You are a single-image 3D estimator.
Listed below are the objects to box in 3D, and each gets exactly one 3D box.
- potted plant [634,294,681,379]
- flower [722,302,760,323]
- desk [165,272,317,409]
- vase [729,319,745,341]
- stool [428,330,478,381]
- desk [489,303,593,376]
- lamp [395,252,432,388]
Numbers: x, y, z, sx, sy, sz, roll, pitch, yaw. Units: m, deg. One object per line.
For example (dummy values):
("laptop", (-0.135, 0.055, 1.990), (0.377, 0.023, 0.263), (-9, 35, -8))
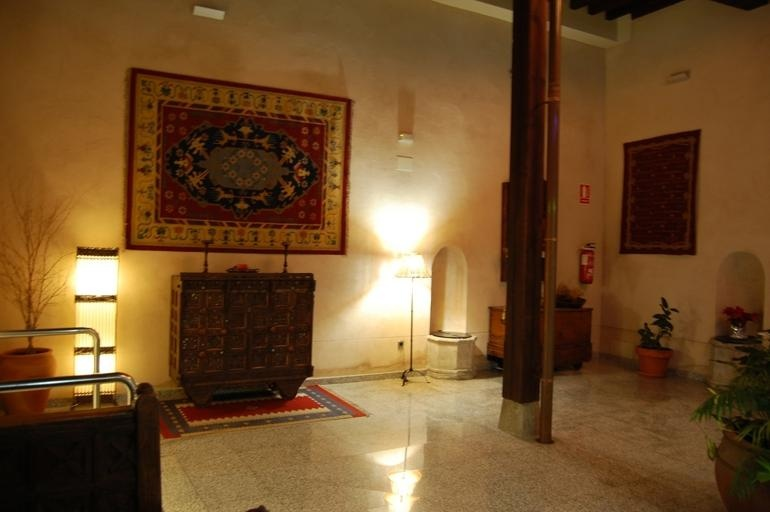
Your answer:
("potted plant", (4.826, 1.426, 9.660), (0.602, 1.366, 0.830), (6, 8, 28))
("flower", (5.803, 0.953, 8.879), (0.391, 0.175, 0.411), (-3, -4, 42))
("desk", (-2.019, 1.132, 7.432), (2.051, 1.736, 0.822), (1, -1, -24))
("vase", (5.725, 1.224, 8.925), (0.305, 0.315, 0.303), (-3, 0, 42))
("stool", (1.097, 1.663, 9.212), (0.845, 0.664, 0.750), (1, -1, -17))
("desk", (2.851, 1.513, 9.757), (1.879, 1.159, 0.552), (2, 7, -1))
("lamp", (0.420, 0.997, 9.046), (0.567, 2.116, 0.813), (2, 7, 2))
